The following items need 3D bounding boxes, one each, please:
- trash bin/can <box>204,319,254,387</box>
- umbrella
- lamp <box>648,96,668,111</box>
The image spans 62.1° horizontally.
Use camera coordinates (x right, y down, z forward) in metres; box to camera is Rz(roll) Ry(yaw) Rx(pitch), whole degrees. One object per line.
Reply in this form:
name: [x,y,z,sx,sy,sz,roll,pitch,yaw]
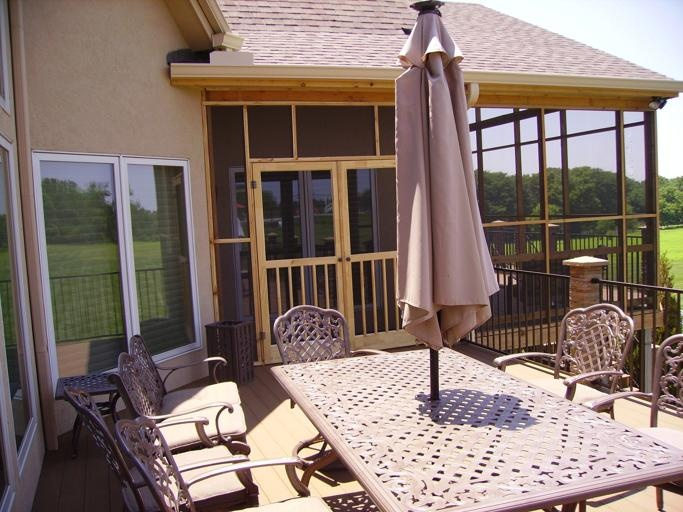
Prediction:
trash bin/can: [-1.281,1.141,6.704,0.472,0.662,0.458,-1,4,18]
umbrella: [0.640,-0.488,3.411,0.616,2.101,0.601,0,11,9]
lamp: [5.049,-2.436,9.022,0.213,0.204,0.091,-24,19,0]
